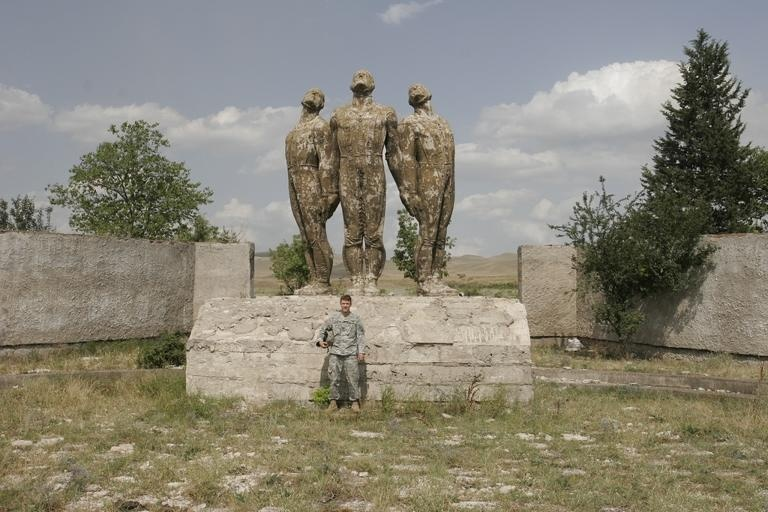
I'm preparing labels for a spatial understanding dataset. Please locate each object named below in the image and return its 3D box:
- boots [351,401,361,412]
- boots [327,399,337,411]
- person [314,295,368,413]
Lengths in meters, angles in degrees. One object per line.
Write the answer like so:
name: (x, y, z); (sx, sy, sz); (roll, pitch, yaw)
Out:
boots: (-0.536, 2.894, 16.284); (0.166, 0.176, 0.158); (1, -7, -4)
boots: (-0.993, 2.869, 16.336); (0.200, 0.199, 0.340); (1, -3, -2)
person: (-0.812, 1.872, 16.474); (0.883, 2.195, 0.583); (1, -3, -3)
